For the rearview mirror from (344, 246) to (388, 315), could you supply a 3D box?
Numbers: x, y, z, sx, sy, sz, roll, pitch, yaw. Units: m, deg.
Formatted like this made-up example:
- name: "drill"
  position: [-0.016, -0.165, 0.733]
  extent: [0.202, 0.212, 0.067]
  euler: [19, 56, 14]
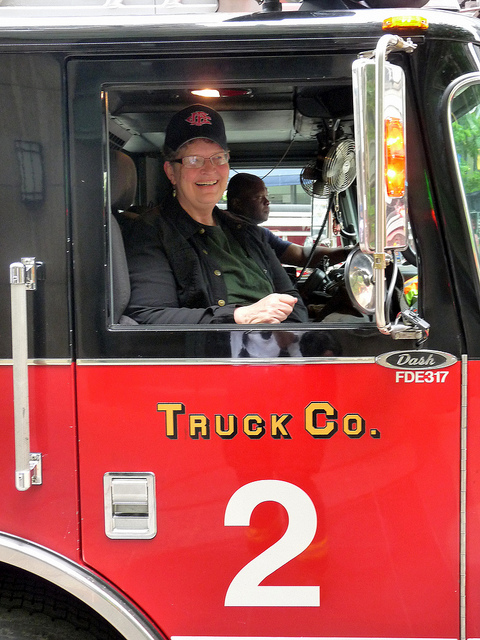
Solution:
- name: "rearview mirror"
  position: [0.310, -0.097, 1.678]
  extent: [0.046, 0.153, 0.167]
  euler: [-9, -12, 37]

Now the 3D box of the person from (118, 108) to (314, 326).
- name: "person"
  position: [-0.071, -0.268, 2.146]
  extent: [0.644, 0.819, 0.511]
  euler: [-13, 15, -40]

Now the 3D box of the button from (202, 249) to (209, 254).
- name: "button"
  position: [-0.114, -0.221, 2.131]
  extent: [0.021, 0.010, 0.038]
  euler: [8, 6, 2]

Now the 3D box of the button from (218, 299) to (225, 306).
- name: "button"
  position: [-0.058, -0.052, 2.025]
  extent: [0.017, 0.016, 0.006]
  euler: [30, -40, -5]

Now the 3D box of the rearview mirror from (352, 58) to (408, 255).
- name: "rearview mirror"
  position: [0.315, -0.361, 1.466]
  extent: [0.133, 0.360, 0.148]
  euler: [-6, 2, 14]

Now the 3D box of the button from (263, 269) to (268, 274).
- name: "button"
  position: [0.089, -0.171, 2.325]
  extent: [0.004, 0.014, 0.015]
  euler: [-26, -20, 40]

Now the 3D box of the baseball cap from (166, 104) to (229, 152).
- name: "baseball cap"
  position: [-0.138, -0.613, 2.107]
  extent: [0.172, 0.140, 0.145]
  euler: [-15, 21, -35]

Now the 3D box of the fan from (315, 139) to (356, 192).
- name: "fan"
  position: [0.337, -0.552, 2.383]
  extent: [0.133, 0.188, 0.187]
  euler: [13, 28, 23]

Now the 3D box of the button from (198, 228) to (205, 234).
- name: "button"
  position: [-0.129, -0.292, 2.176]
  extent: [0.019, 0.017, 0.006]
  euler: [-5, 9, -40]

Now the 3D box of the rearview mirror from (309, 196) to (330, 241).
- name: "rearview mirror"
  position: [0.378, -0.475, 3.072]
  extent: [0.098, 0.207, 0.026]
  euler: [5, 13, 28]

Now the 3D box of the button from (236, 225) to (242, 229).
- name: "button"
  position: [-0.007, -0.333, 2.358]
  extent: [0.017, 0.015, 0.006]
  euler: [-14, -3, -3]
